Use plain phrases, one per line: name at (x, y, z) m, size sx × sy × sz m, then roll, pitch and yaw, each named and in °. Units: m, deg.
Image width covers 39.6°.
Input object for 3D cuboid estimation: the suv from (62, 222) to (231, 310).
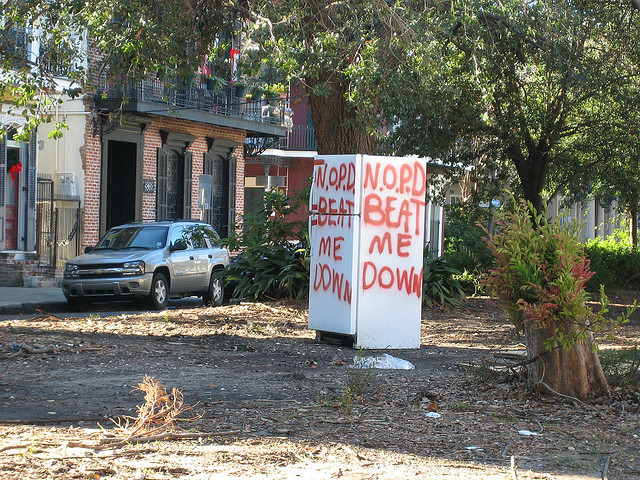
suv at (-3.694, 0.496, 19.708) m, size 2.020 × 1.475 × 3.139 m, roll -3°, pitch -5°, yaw 30°
